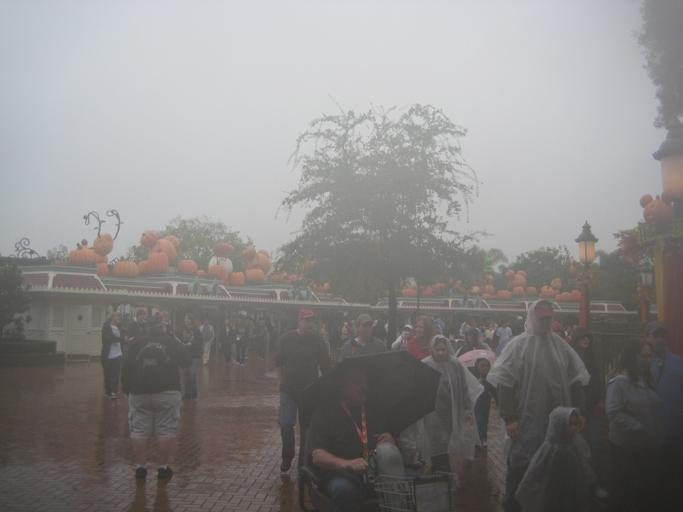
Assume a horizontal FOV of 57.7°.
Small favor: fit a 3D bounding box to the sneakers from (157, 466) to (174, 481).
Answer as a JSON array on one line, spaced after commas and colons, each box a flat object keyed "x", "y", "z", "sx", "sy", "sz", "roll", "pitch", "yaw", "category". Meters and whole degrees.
[{"x": -2.367, "y": 2.888, "z": 8.302, "sx": 0.152, "sy": 0.169, "sz": 0.163, "roll": 2, "pitch": -5, "yaw": 6, "category": "sneakers"}]
